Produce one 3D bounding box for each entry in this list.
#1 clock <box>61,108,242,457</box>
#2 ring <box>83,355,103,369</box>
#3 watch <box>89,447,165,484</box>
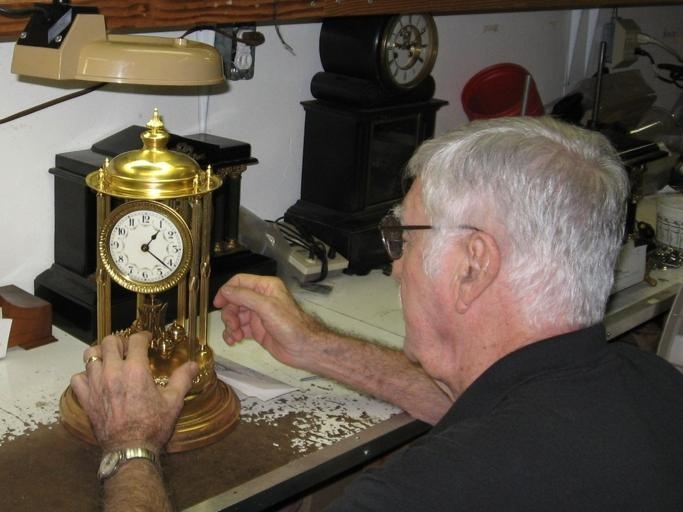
[{"bbox_3d":[-0.377,0.044,1.423,0.332,0.547,0.320,1,15,-21],"label":"clock"},{"bbox_3d":[-0.420,0.180,1.278,0.027,0.019,0.027,2,8,0],"label":"ring"},{"bbox_3d":[-0.333,0.320,1.183,0.060,0.026,0.073,8,-34,-39],"label":"watch"}]
